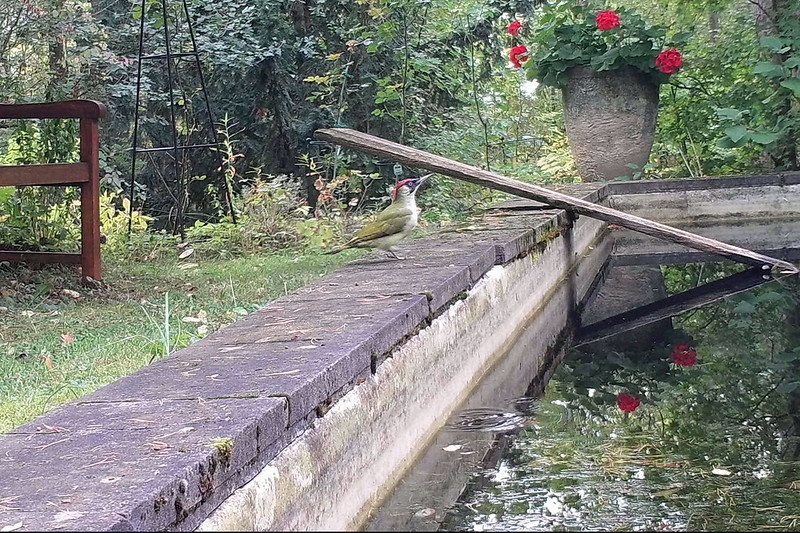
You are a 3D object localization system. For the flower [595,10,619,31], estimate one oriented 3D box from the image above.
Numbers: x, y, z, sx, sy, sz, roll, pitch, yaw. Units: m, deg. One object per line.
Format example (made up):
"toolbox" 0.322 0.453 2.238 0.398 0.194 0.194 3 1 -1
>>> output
"flower" 2.500 -2.930 10.594 0.274 0.172 0.259 -24 38 -21

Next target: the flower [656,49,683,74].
"flower" 3.239 -2.441 10.569 0.328 0.294 0.184 6 39 -4

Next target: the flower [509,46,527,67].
"flower" 1.508 -2.595 10.946 0.281 0.185 0.310 -1 2 -13

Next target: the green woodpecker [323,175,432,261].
"green woodpecker" -0.114 -0.312 5.628 0.742 0.474 0.257 -6 14 2
